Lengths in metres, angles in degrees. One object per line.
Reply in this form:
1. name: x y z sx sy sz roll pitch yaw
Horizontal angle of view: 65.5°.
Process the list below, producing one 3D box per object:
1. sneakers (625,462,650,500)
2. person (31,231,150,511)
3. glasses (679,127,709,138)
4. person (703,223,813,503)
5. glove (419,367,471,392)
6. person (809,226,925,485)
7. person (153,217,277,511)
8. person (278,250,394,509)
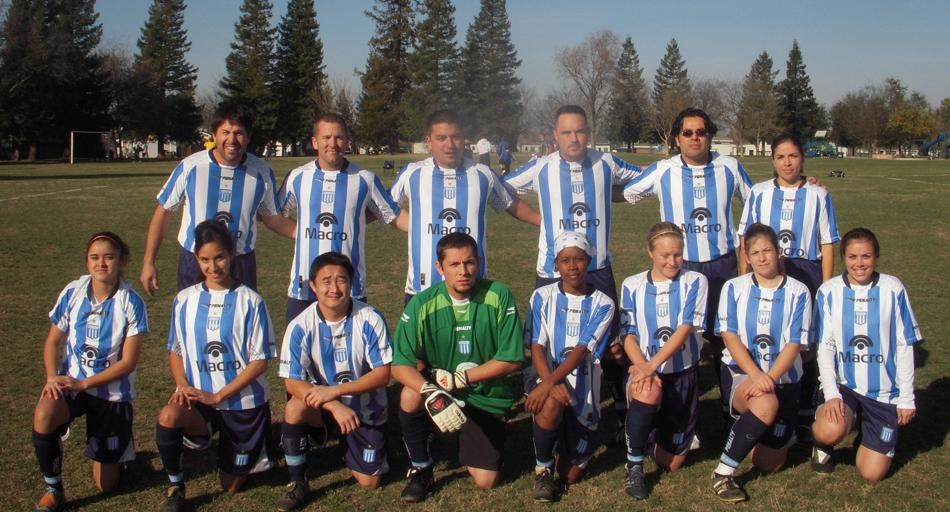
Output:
1. sneakers: 2.030 2.847 9.256 0.213 0.217 0.507 -1 3 -1
2. person: -4.839 1.389 9.310 1.321 3.337 0.728 -4 8 -25
3. glasses: 3.060 -1.718 10.287 0.349 0.126 0.098 2 7 14
4. person: 3.611 1.293 9.551 1.555 3.354 0.870 -7 9 -41
5. glove: -0.355 1.574 9.332 0.473 0.188 0.302 -4 19 -4
6. person: 5.010 1.247 9.470 1.208 3.136 0.784 2 7 21
7. person: -3.287 1.320 9.361 1.413 3.443 0.736 -3 7 -19
8. person: -1.741 1.509 9.317 1.391 3.059 0.616 -2 7 -10
